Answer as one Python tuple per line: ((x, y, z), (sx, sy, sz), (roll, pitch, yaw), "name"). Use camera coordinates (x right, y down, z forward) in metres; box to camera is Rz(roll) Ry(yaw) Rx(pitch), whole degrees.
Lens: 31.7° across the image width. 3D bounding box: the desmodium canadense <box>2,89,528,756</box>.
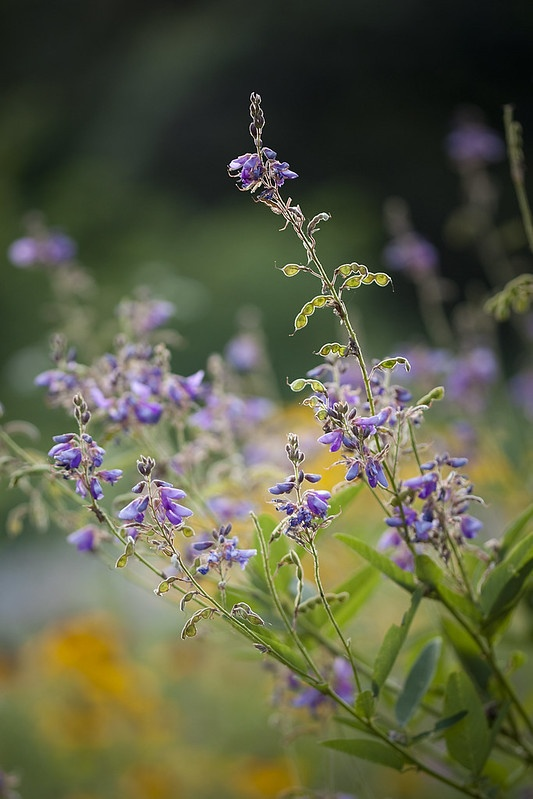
((-0.002, 0.086, 1.098), (0.581, 0.717, 0.587), (-6, -20, -14), "desmodium canadense")
